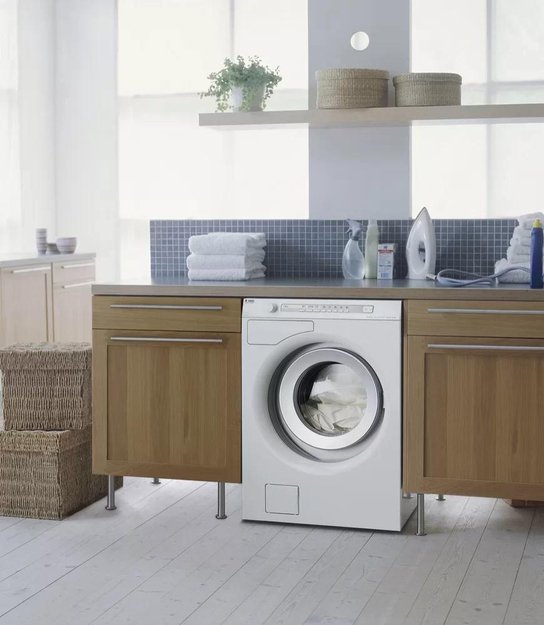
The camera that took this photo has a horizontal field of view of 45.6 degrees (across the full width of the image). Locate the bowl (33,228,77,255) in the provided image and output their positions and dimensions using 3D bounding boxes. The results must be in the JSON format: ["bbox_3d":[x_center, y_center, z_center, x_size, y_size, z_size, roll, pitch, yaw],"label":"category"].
[{"bbox_3d":[-1.371,-0.443,4.070,0.231,0.160,0.150,0,1,4],"label":"bowl"}]

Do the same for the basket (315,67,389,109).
[{"bbox_3d":[0.323,-0.901,2.629,0.207,0.099,0.211,4,6,33],"label":"basket"}]

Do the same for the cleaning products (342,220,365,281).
[{"bbox_3d":[0.336,-0.252,2.642,0.091,0.242,0.091,0,0,7],"label":"cleaning products"}]

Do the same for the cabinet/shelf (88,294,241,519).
[{"bbox_3d":[-0.384,0.286,2.578,0.610,0.807,0.571,4,11,7],"label":"cabinet/shelf"}]

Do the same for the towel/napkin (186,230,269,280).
[{"bbox_3d":[-0.189,-0.225,2.668,0.264,0.167,0.221,-1,5,3],"label":"towel/napkin"}]

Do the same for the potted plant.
[{"bbox_3d":[-0.130,-0.988,2.798,0.327,0.249,0.239,0,0,1],"label":"potted plant"}]
